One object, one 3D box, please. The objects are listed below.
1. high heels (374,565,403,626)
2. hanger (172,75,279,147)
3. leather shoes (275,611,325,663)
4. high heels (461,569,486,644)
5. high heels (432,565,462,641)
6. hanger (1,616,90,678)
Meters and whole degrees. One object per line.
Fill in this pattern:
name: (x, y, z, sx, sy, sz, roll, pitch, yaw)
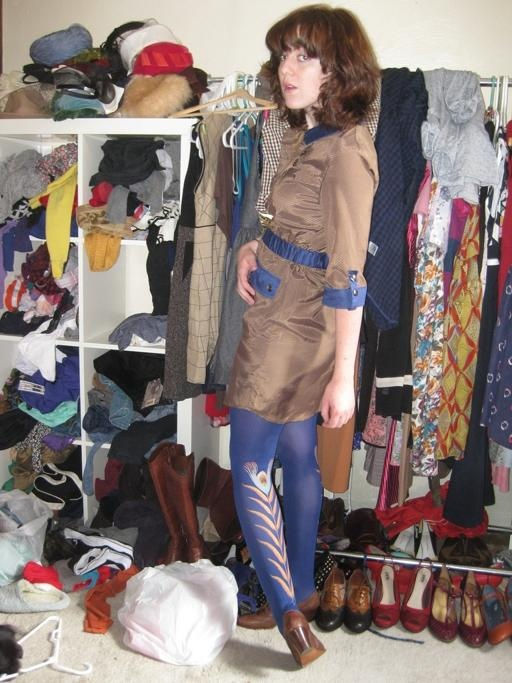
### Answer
high heels: (0.420, 0.799, 1.813, 0.065, 0.046, 0.183, 0, 34, 10)
hanger: (-0.088, -0.780, 1.909, 0.292, 0.134, 0.323, -1, -3, -17)
leather shoes: (0.102, 0.682, 1.314, 0.065, 0.178, 0.080, -30, 60, -8)
high heels: (0.662, 0.816, 1.762, 0.058, 0.054, 0.192, 2, 45, 9)
high heels: (0.594, 0.821, 1.791, 0.068, 0.078, 0.200, 1, 34, 13)
hanger: (-0.594, 0.865, 1.611, 0.229, 0.025, 0.300, -1, 10, -18)
